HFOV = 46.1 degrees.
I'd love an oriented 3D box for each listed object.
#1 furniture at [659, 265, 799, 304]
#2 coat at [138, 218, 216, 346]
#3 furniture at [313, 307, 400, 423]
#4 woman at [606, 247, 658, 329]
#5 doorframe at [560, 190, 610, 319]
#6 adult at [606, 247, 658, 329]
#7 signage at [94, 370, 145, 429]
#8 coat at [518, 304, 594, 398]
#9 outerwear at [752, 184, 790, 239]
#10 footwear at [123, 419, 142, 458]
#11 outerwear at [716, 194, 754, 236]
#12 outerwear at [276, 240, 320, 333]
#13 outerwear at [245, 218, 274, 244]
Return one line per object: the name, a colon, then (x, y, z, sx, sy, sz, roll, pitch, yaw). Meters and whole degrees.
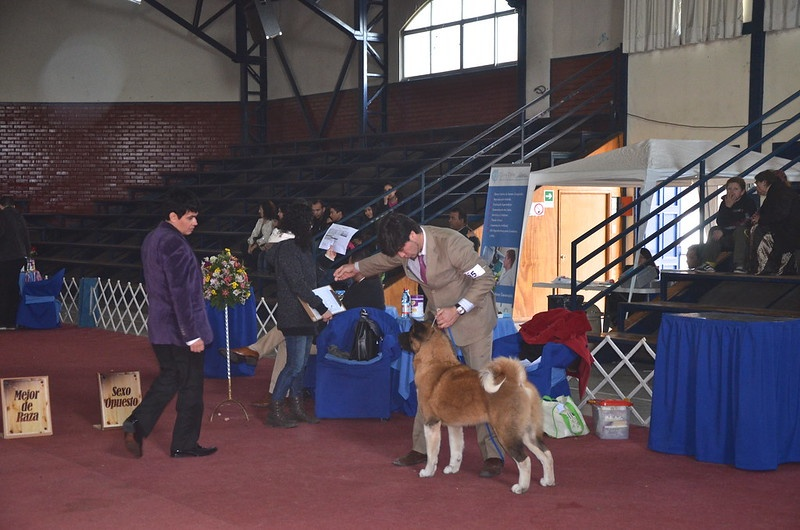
furniture: (4.723, 0.323, 13.433, 1.843, 0.459, 1.154, 2, 4, 25)
coat: (-2.563, 0.205, 10.713, 0.786, 1.396, 0.343, 0, 4, -8)
furniture: (-0.559, 1.242, 12.418, 1.514, 1.964, 1.212, 0, -4, -3)
woman: (3.945, 0.381, 15.307, 0.719, 1.063, 1.056, -14, 25, 0)
doorframe: (3.523, -0.392, 17.870, 0.406, 2.104, 1.245, 4, 5, 42)
adult: (3.748, 0.383, 15.002, 0.832, 1.286, 1.916, 1, 3, 13)
signage: (-3.547, 1.602, 11.904, 0.759, 0.868, 0.627, -1, -1, -26)
coat: (2.059, 1.054, 11.759, 1.030, 1.067, 0.903, -8, 7, -13)
outerwear: (5.305, -0.744, 13.257, 0.430, 0.775, 0.792, 6, 1, 32)
footwear: (-3.058, 1.982, 10.856, 0.159, 0.459, 0.201, -8, 10, -4)
outerwear: (5.115, -0.749, 14.184, 0.391, 0.684, 0.550, 21, -11, -19)
outerwear: (-1.238, 0.267, 11.582, 0.661, 1.180, 0.412, 0, 4, 0)
outerwear: (-2.575, -0.642, 17.463, 0.208, 0.523, 0.510, 25, 0, -37)
